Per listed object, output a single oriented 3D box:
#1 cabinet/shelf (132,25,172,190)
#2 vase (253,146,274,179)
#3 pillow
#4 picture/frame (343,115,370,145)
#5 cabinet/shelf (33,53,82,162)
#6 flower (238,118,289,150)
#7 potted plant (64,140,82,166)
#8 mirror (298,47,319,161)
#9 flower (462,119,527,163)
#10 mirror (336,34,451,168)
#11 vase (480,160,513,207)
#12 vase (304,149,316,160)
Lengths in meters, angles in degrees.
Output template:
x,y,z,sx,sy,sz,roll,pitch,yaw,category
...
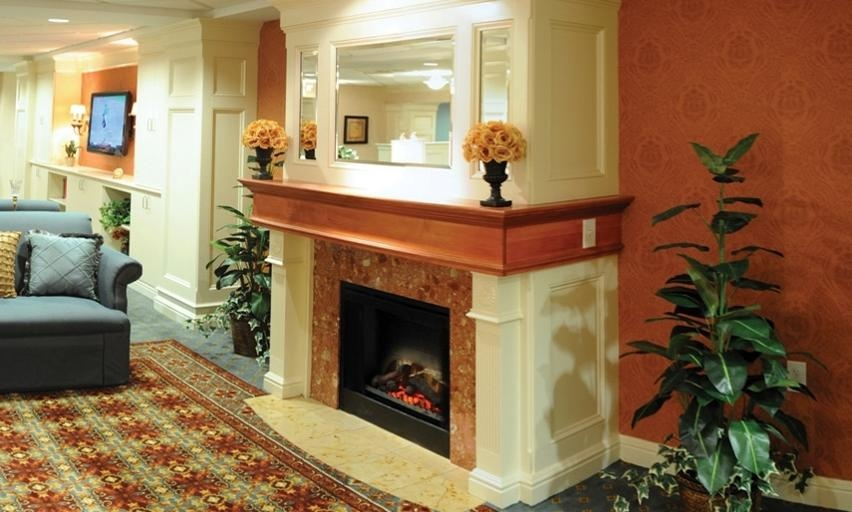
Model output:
x,y,z,sx,sy,sz,roll,pitch,yaw,category
-3.348,-1.725,7.047,0.305,1.886,1.062,-5,10,-34,cabinet/shelf
-1.393,-0.800,4.986,0.143,0.276,0.336,-2,9,-17,vase
-3.412,0.114,5.272,0.690,0.593,0.227,0,-22,-18,pillow
-0.530,-0.973,4.434,0.268,0.246,0.018,3,1,42,picture/frame
-6.409,-2.524,10.015,1.148,1.754,0.427,7,10,34,cabinet/shelf
-1.374,-1.025,4.925,0.322,0.286,0.304,1,11,-7,flower
-5.895,-1.723,9.681,0.226,0.413,0.520,-4,10,-32,potted plant
-0.971,-1.244,4.765,0.236,0.889,0.058,9,11,42,mirror
0.427,-0.699,3.572,0.314,0.167,0.305,-1,4,-28,flower
-0.206,-1.138,4.208,1.154,0.870,0.090,4,4,39,mirror
0.424,-0.441,3.588,0.264,0.349,0.276,1,1,5,vase
-0.963,-0.839,4.801,0.095,0.101,0.106,-6,4,-43,vase
